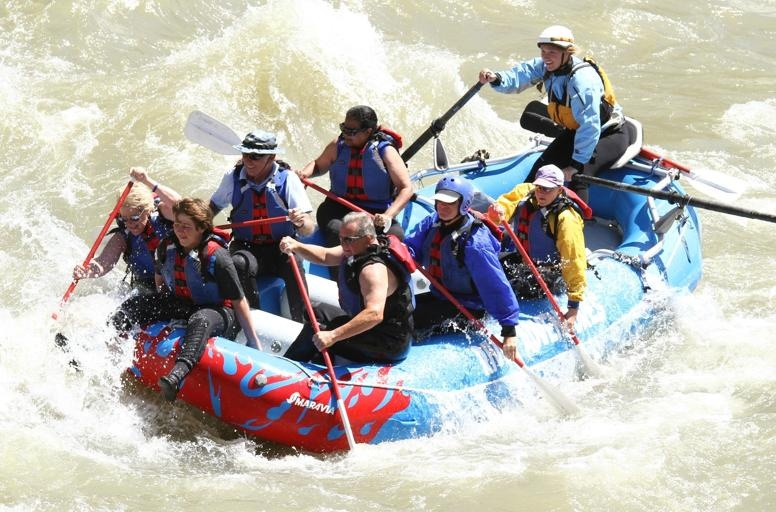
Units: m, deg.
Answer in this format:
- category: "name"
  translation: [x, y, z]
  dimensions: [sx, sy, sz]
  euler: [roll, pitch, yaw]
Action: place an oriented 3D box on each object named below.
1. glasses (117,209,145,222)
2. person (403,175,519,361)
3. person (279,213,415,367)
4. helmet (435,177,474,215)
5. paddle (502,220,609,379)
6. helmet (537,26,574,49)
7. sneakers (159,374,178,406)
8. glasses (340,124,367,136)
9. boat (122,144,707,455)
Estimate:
- category: "glasses"
  translation: [-2.516, -0.401, 8.462]
  dimensions: [0.174, 0.057, 0.177]
  euler: [-9, 22, 27]
- category: "person"
  translation: [0.742, 0.192, 8.469]
  dimensions: [0.993, 1.213, 1.339]
  euler: [-25, 51, -21]
- category: "person"
  translation: [-0.391, 0.368, 8.134]
  dimensions: [1.036, 1.338, 0.870]
  euler: [17, 19, -15]
- category: "helmet"
  translation: [0.694, -0.620, 8.300]
  dimensions: [0.465, 0.339, 0.329]
  euler: [-6, 21, -45]
- category: "paddle"
  translation: [1.698, 0.497, 8.747]
  dimensions: [0.225, 0.095, 2.007]
  euler: [-38, 72, 12]
- category: "helmet"
  translation: [1.944, -2.539, 9.689]
  dimensions: [0.387, 0.194, 0.415]
  euler: [9, 51, 8]
- category: "sneakers"
  translation: [-1.942, 1.168, 7.602]
  dimensions: [0.145, 0.258, 0.135]
  euler: [33, 59, 24]
- category: "glasses"
  translation: [-0.390, -1.336, 9.161]
  dimensions: [0.180, 0.052, 0.170]
  euler: [-4, 25, -43]
- category: "boat"
  translation: [0.809, 0.749, 8.723]
  dimensions: [5.715, 1.130, 2.863]
  euler: [-23, 42, -31]
